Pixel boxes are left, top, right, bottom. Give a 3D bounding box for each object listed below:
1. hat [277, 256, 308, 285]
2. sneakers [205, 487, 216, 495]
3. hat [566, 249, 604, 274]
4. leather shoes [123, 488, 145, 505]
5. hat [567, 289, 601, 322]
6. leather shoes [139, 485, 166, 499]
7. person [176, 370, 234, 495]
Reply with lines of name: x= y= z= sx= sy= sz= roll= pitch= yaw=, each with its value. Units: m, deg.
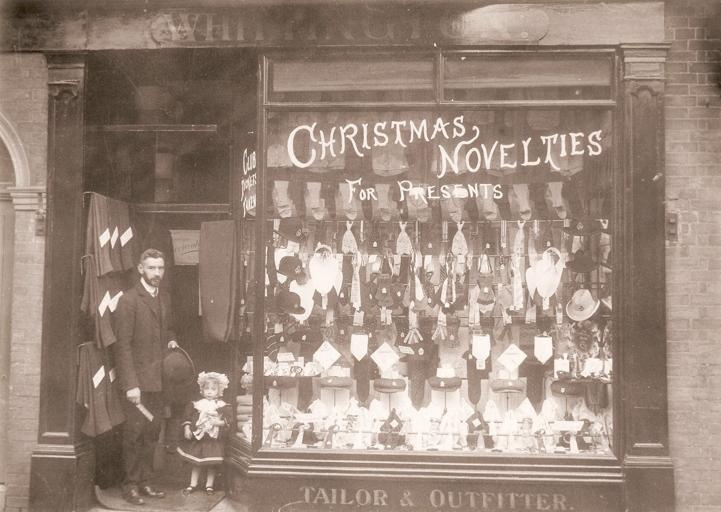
hat: x=-0.690 y=0.139 z=15.106 sx=0.310 sy=0.229 sz=0.214 roll=-3 pitch=4 yaw=-8
sneakers: x=-1.540 y=2.412 z=15.158 sx=0.075 sy=0.038 sz=0.120 roll=1 pitch=7 yaw=-6
hat: x=2.262 y=0.054 z=14.964 sx=0.357 sy=0.229 sz=0.062 roll=-1 pitch=-3 yaw=37
leather shoes: x=-2.261 y=2.449 z=15.032 sx=0.290 sy=0.108 sz=0.105 roll=8 pitch=4 yaw=34
hat: x=2.283 y=0.507 z=14.958 sx=0.224 sy=0.271 sz=0.116 roll=34 pitch=3 yaw=17
leather shoes: x=-2.138 y=2.422 z=15.138 sx=0.276 sy=0.097 sz=0.107 roll=2 pitch=4 yaw=5
person: x=-1.607 y=1.823 z=15.232 sx=0.541 sy=1.229 sz=0.306 roll=1 pitch=-3 yaw=-4
